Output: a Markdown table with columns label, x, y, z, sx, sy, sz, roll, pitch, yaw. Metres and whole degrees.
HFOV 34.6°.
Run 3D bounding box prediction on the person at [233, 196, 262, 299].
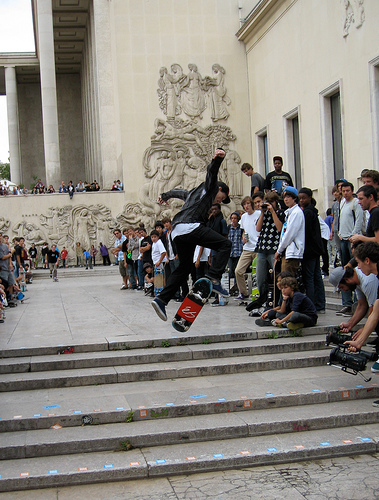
| label | x | y | z | sx | sy | sz | roll | pitch | yaw |
| --- | --- | --- | --- | --- | --- | --- | --- | --- | --- |
| person | 0.932 | -0.014 | 9.525 | 0.415 | 1.633 | 0.637 | -6 | 6 | -29 |

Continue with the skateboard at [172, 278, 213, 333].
| label | x | y | z | sx | sy | sz | roll | pitch | yaw |
| --- | --- | --- | --- | --- | --- | --- | --- | --- | --- |
| skateboard | 0.031 | 0.588 | 6.528 | 0.247 | 0.801 | 0.118 | 37 | 25 | -1 |

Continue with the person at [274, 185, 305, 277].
| label | x | y | z | sx | sy | sz | roll | pitch | yaw |
| --- | --- | --- | --- | --- | --- | --- | --- | --- | --- |
| person | 1.240 | -0.232 | 7.548 | 0.348 | 1.081 | 0.367 | -4 | 5 | -15 |

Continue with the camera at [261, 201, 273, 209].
| label | x | y | z | sx | sy | sz | roll | pitch | yaw |
| --- | --- | --- | --- | --- | --- | --- | --- | --- | --- |
| camera | 0.994 | -0.580 | 7.892 | 0.086 | 0.086 | 0.060 | 10 | 8 | 44 |

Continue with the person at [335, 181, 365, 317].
| label | x | y | z | sx | sy | sz | roll | pitch | yaw |
| --- | --- | --- | --- | --- | --- | --- | --- | --- | --- |
| person | 2.072 | -0.060 | 8.107 | 0.546 | 1.768 | 0.504 | -2 | 2 | 2 |
